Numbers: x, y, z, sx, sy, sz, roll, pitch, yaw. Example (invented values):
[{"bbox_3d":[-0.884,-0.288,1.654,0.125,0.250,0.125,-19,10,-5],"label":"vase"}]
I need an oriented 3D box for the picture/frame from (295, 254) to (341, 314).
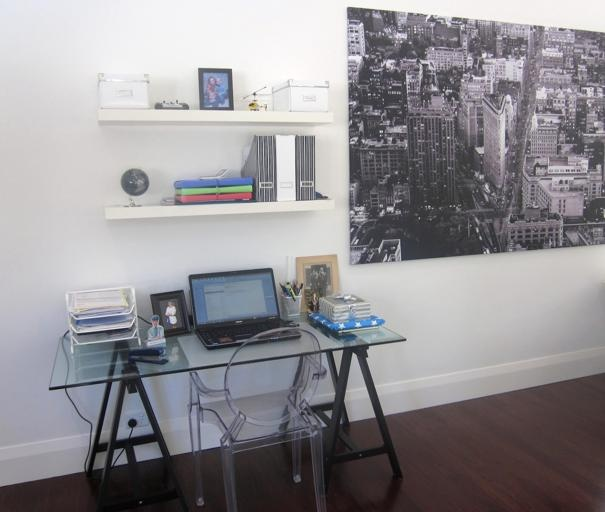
[{"bbox_3d":[0.072,0.165,2.954,0.299,0.423,0.029,0,-1,-21],"label":"picture/frame"}]

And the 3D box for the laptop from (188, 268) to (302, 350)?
[{"bbox_3d":[-0.307,0.251,2.607,0.506,0.350,0.408,-4,5,-22],"label":"laptop"}]

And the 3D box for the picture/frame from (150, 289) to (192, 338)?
[{"bbox_3d":[-0.693,0.303,2.598,0.176,0.262,0.027,-8,-14,-27],"label":"picture/frame"}]

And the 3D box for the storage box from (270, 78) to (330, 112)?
[{"bbox_3d":[-0.023,-0.860,2.717,0.311,0.158,0.203,0,13,3],"label":"storage box"}]

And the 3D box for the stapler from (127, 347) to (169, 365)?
[{"bbox_3d":[-0.695,0.444,2.247,0.164,0.050,0.129,-5,14,-19],"label":"stapler"}]

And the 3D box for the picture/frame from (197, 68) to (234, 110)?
[{"bbox_3d":[-0.454,-0.860,2.597,0.175,0.239,0.018,-2,-7,-11],"label":"picture/frame"}]

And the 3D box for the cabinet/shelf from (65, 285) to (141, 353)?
[{"bbox_3d":[-0.999,0.304,2.503,0.294,0.282,0.241,-5,5,-23],"label":"cabinet/shelf"}]

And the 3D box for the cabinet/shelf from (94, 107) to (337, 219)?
[{"bbox_3d":[-0.436,-0.481,2.668,1.198,0.573,0.270,-5,13,-17],"label":"cabinet/shelf"}]

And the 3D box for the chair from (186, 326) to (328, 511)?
[{"bbox_3d":[-0.251,0.827,2.501,0.592,1.201,0.572,-4,16,-20],"label":"chair"}]

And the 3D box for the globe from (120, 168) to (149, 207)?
[{"bbox_3d":[-0.877,-0.360,2.614,0.147,0.190,0.143,-5,13,-18],"label":"globe"}]
